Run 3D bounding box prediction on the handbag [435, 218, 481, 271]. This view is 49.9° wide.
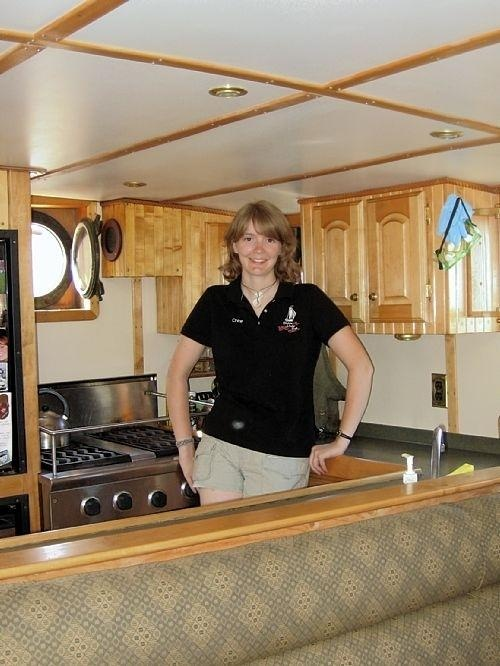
[{"bbox_3d":[0.947,-0.383,2.459,0.242,0.173,0.089,-41,-46,20],"label":"handbag"}]

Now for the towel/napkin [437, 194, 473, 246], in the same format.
[{"bbox_3d":[0.922,-0.506,2.413,0.187,0.205,0.068,7,-1,4],"label":"towel/napkin"}]

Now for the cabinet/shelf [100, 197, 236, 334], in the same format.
[{"bbox_3d":[-0.502,-0.368,3.381,0.350,0.762,0.903,1,4,38],"label":"cabinet/shelf"}]

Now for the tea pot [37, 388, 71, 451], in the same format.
[{"bbox_3d":[-0.986,0.404,2.544,0.260,0.260,0.177,-2,1,-26],"label":"tea pot"}]

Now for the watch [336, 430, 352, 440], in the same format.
[{"bbox_3d":[0.277,0.295,1.569,0.029,0.028,0.015,-35,-15,-15],"label":"watch"}]

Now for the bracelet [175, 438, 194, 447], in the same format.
[{"bbox_3d":[-0.203,0.349,1.729,0.040,0.013,0.032,-8,3,15],"label":"bracelet"}]
